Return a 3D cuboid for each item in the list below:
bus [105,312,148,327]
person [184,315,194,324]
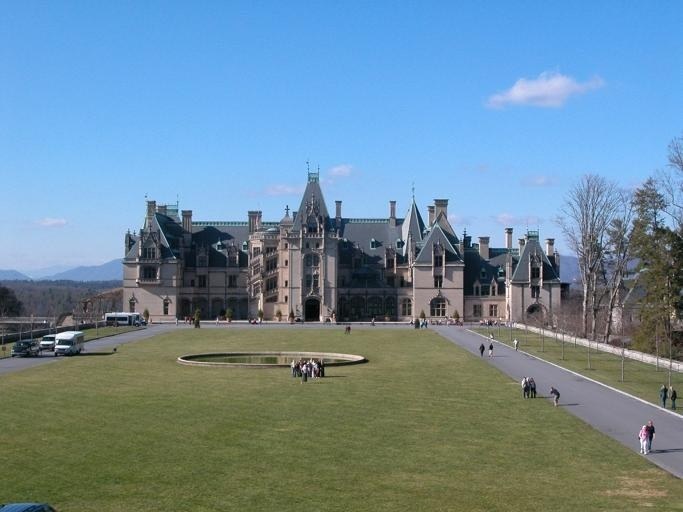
[{"bbox_3d":[-31.173,9.170,123.607,5.861,1.958,2.303,0,2,-2],"label":"bus"},{"bbox_3d":[-23.783,9.927,134.095,1.216,0.788,1.262,-1,-6,10],"label":"person"}]
